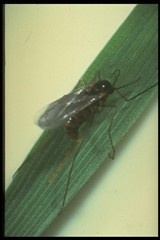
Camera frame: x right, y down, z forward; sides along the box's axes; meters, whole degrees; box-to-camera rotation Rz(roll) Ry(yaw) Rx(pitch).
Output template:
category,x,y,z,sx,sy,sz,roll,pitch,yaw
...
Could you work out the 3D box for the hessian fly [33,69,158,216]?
category,x,y,z,sx,sy,sz,roll,pitch,yaw
hessian fly,0.012,0.082,0.924,0.431,0.317,0.134,-49,-26,9
